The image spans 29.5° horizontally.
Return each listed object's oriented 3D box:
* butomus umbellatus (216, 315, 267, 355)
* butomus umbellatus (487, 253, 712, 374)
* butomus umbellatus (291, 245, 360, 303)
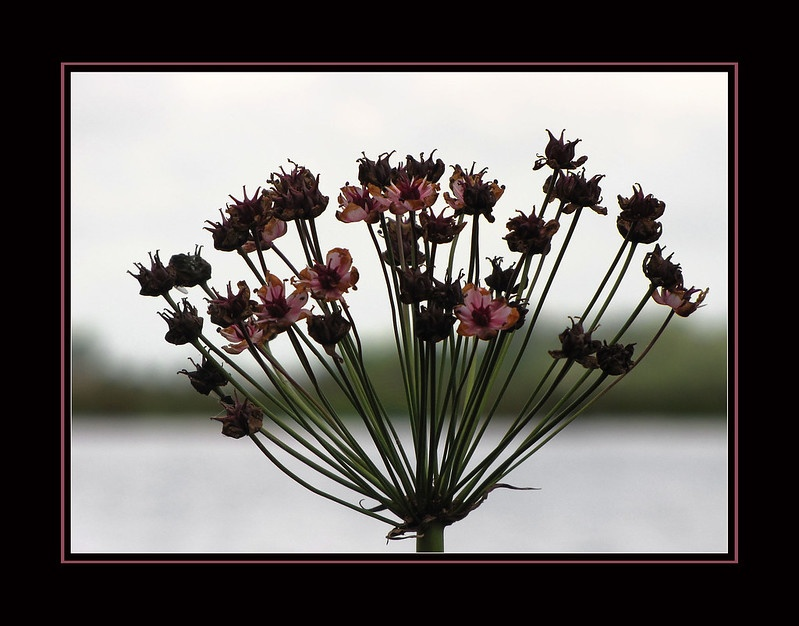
[{"bbox_3d":[-0.309,0.057,3.010,0.097,0.083,0.122,-2,15,-10],"label":"butomus umbellatus"},{"bbox_3d":[0.392,-0.013,3.062,0.371,0.276,0.276,7,16,22],"label":"butomus umbellatus"},{"bbox_3d":[-0.161,-0.087,3.010,0.091,0.051,0.117,-40,9,-24],"label":"butomus umbellatus"}]
